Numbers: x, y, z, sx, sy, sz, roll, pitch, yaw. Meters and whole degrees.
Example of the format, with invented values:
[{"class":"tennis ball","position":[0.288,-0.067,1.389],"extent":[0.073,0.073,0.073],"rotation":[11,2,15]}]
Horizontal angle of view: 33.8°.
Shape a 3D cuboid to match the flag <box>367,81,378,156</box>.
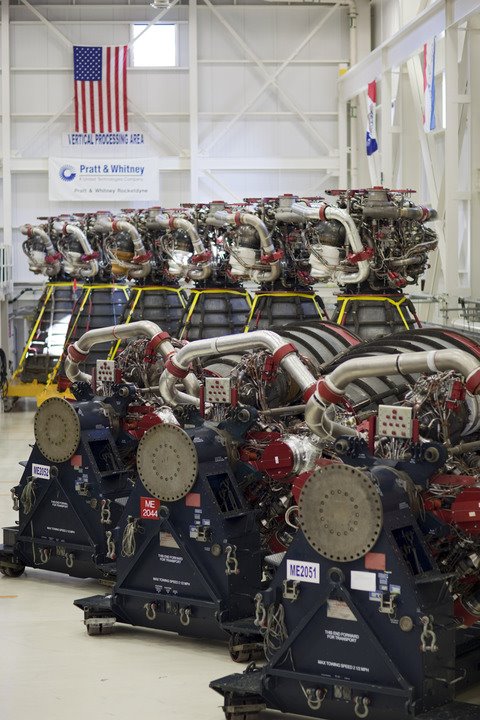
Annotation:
[{"class":"flag","position":[3.377,-6.222,20.250],"extent":[0.237,1.962,0.892],"rotation":[-1,3,6]}]
